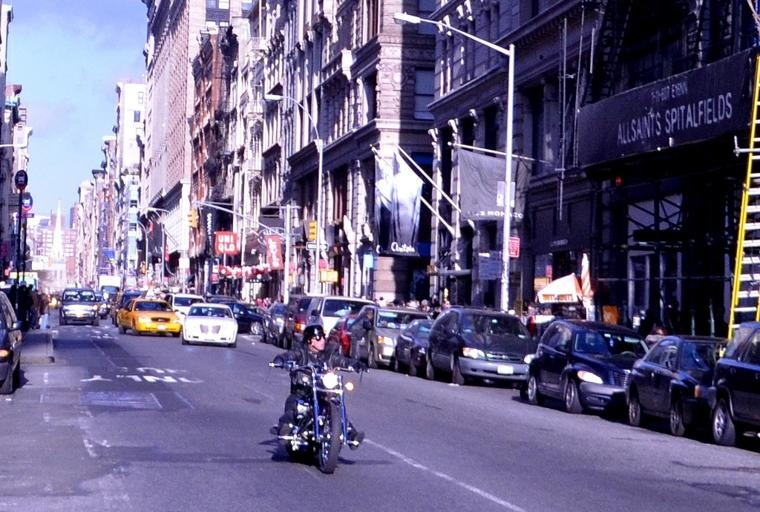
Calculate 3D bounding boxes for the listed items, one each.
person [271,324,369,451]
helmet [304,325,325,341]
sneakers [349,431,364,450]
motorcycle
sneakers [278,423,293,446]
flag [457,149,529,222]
[{"bbox_3d":[-1.067,1.876,14.376,0.633,1.594,1.993,1,-3,-6],"label":"person"},{"bbox_3d":[-0.993,1.152,14.329,0.235,0.222,0.229,-8,-1,9],"label":"helmet"},{"bbox_3d":[-0.344,2.729,14.126,0.197,0.296,0.359,0,-6,-5],"label":"sneakers"},{"bbox_3d":[-0.987,2.379,14.164,0.928,1.610,1.227,6,-7,-40],"label":"motorcycle"},{"bbox_3d":[-1.410,2.660,14.215,0.110,0.315,0.199,8,-9,-28],"label":"sneakers"},{"bbox_3d":[4.655,-2.868,38.905,2.970,3.051,0.205,2,-4,11],"label":"flag"}]
